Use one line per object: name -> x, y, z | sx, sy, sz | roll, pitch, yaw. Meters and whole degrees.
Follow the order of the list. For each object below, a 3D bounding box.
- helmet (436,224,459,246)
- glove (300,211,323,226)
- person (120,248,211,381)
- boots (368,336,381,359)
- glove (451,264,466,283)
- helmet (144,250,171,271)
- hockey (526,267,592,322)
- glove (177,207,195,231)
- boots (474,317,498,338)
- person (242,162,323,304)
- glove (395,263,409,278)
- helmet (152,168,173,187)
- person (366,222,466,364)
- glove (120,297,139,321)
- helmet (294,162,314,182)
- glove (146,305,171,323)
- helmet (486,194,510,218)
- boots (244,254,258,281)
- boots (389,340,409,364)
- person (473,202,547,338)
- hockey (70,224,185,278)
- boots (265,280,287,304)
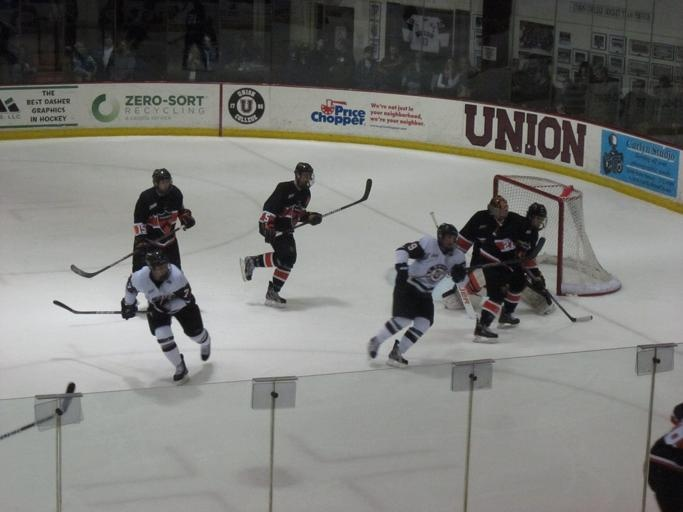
helmet -> 0.981, -0.208, 7.399 | 0.166, 0.172, 0.182 | 2, -3, -42
glove -> -0.333, -0.429, 9.093 | 0.151, 0.079, 0.178 | 12, 14, -2
person -> -1.484, 0.520, 7.109 | 0.634, 1.162, 0.381 | -6, 15, -20
boots -> 0.318, 0.851, 7.480 | 0.082, 0.222, 0.095 | -1, 23, 0
glove -> 1.103, 0.159, 7.552 | 0.124, 0.167, 0.167 | -3, 21, 2
helmet -> -1.582, 0.043, 6.967 | 0.205, 0.197, 0.164 | -11, 49, 0
hockey -> 2.444, 0.449, 9.005 | 0.187, 0.125, 0.712 | -41, 58, -9
glove -> -1.668, -0.421, 8.678 | 0.166, 0.267, 0.110 | -21, -17, -13
boots -> 1.465, 0.725, 8.102 | 0.234, 0.197, 0.145 | 2, 14, 10
person -> -0.706, -0.247, 8.839 | 0.812, 1.501, 0.445 | -3, 14, -7
glove -> 0.553, 0.136, 7.365 | 0.102, 0.131, 0.131 | 2, 55, 1
helmet -> -1.864, -0.808, 8.339 | 0.181, 0.177, 0.196 | -2, 14, -5
person -> 0.760, 0.427, 8.089 | 0.853, 1.568, 0.711 | 32, -19, -30
glove -> -2.096, 0.509, 7.857 | 0.199, 0.231, 0.251 | 0, 8, -2
helmet -> -0.400, -0.915, 8.785 | 0.237, 0.228, 0.189 | -3, 1, 24
glove -> -1.607, 0.499, 7.063 | 0.149, 0.119, 0.151 | 11, 9, 38
helmet -> 1.629, -0.507, 8.231 | 0.205, 0.219, 0.237 | 2, 13, -20
boots -> -1.018, 0.125, 9.109 | 0.187, 0.294, 0.100 | 0, 12, 9
boots -> 0.522, 0.882, 7.308 | 0.179, 0.215, 0.329 | -1, 14, 0
person -> 1.719, 0.128, 8.257 | 0.771, 1.429, 0.728 | 12, 20, 38
hockey -> -2.421, -0.038, 9.063 | 0.944, 0.104, 0.163 | -37, 37, -26
boots -> -0.709, 0.394, 8.863 | 0.264, 0.262, 0.213 | -6, 15, -20
